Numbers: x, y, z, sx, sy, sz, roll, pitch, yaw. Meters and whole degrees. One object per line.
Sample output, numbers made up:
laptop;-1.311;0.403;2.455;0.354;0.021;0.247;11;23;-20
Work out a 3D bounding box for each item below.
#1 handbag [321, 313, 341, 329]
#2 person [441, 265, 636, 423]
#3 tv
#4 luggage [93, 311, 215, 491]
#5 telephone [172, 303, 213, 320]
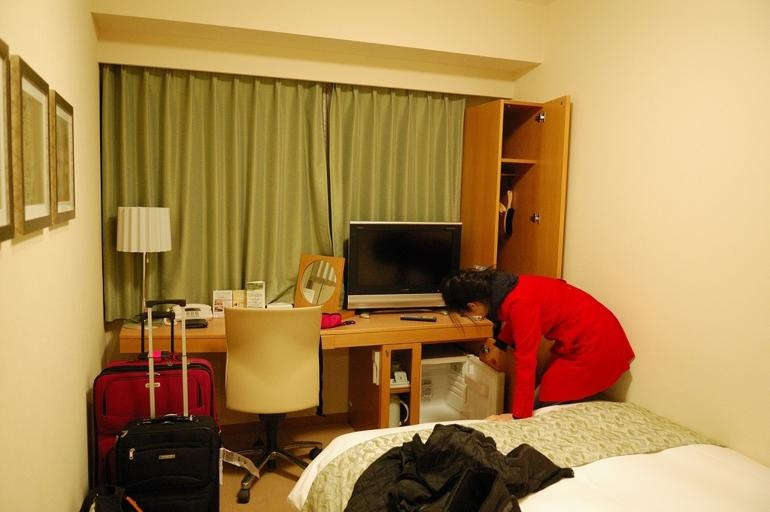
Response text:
handbag;-0.387;0.466;4.198;0.108;0.043;0.125;3;9;1
person;1.044;0.674;3.969;1.202;1.274;0.861;-8;8;-5
tv;0.129;0.106;4.498;0.753;0.570;0.096;1;3;-14
luggage;-1.505;0.960;3.874;0.786;1.132;0.570;-1;3;-16
telephone;-1.380;0.399;4.210;0.197;0.074;0.133;1;-1;-13
